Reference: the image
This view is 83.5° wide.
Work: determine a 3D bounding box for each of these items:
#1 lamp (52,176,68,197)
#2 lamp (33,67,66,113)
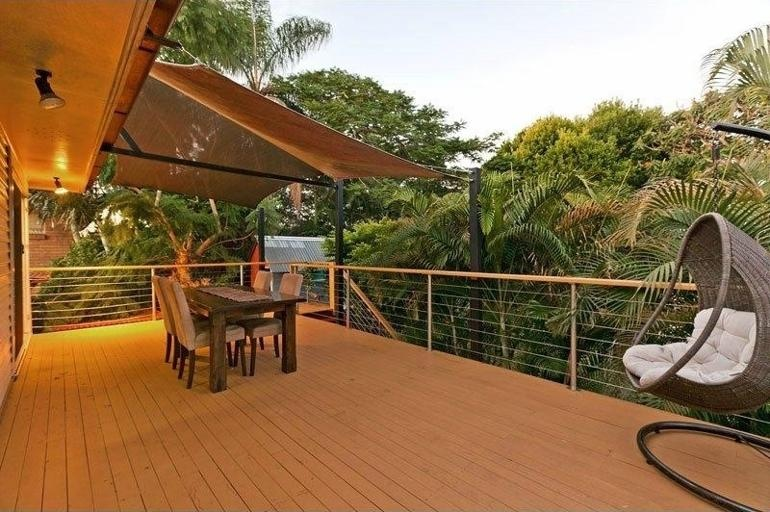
[{"bbox_3d":[-5.226,-1.151,6.943,0.162,0.294,1.061,-11,15,-35],"label":"lamp"},{"bbox_3d":[-2.726,-1.371,3.512,0.203,0.300,0.201,-37,-22,33],"label":"lamp"}]
